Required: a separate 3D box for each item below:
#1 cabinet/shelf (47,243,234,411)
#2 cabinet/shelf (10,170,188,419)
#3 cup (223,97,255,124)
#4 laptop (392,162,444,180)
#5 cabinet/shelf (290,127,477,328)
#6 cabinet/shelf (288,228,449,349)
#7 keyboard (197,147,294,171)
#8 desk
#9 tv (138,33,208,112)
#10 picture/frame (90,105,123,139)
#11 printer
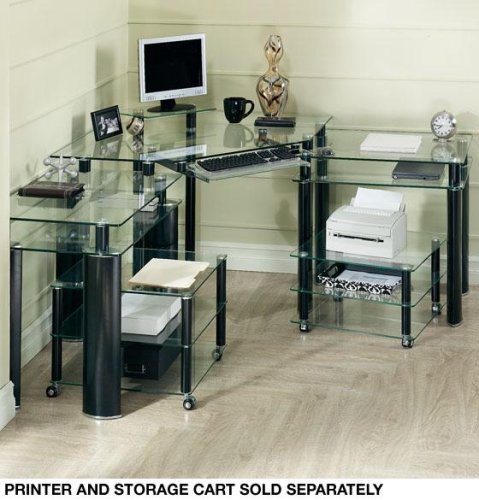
[{"bbox_3d":[-0.383,0.315,2.309,0.564,0.568,0.772,2,3,15],"label":"cabinet/shelf"},{"bbox_3d":[-0.410,0.178,2.301,0.909,0.627,0.453,15,-39,-44],"label":"cabinet/shelf"},{"bbox_3d":[-0.006,-0.750,3.083,0.215,0.149,0.162,-6,14,-21],"label":"cup"},{"bbox_3d":[0.855,-0.377,2.706,0.223,0.070,0.228,6,16,20],"label":"laptop"},{"bbox_3d":[0.715,-0.162,3.043,0.865,0.931,1.148,4,19,20],"label":"cabinet/shelf"},{"bbox_3d":[0.648,0.156,2.874,0.600,0.350,0.606,4,21,20],"label":"cabinet/shelf"},{"bbox_3d":[0.060,-0.420,2.577,0.275,0.086,0.563,14,21,41],"label":"keyboard"},{"bbox_3d":[-0.093,-0.341,2.806,1.230,0.908,1.237,-1,16,-9],"label":"desk"},{"bbox_3d":[-0.355,-0.952,3.004,0.502,0.455,0.162,-15,23,-33],"label":"tv"},{"bbox_3d":[-0.652,-0.621,2.765,0.015,0.166,0.210,-2,12,29],"label":"picture/frame"},{"bbox_3d":[0.618,-0.146,2.658,0.310,0.198,0.242,6,13,27],"label":"printer"}]
